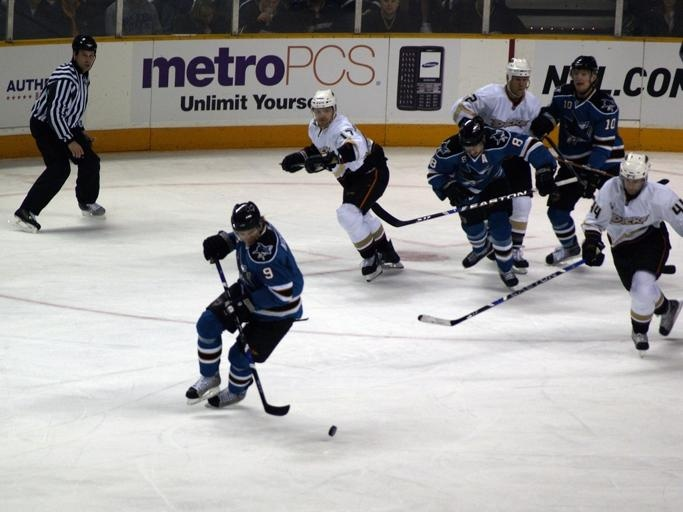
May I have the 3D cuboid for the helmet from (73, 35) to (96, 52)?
[{"bbox_3d":[-2.267,-1.870,6.862,0.162,0.152,0.196,-1,10,4],"label":"helmet"}]

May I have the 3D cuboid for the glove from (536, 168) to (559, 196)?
[{"bbox_3d":[1.482,-0.538,5.630,0.153,0.216,0.230,1,10,13],"label":"glove"}]

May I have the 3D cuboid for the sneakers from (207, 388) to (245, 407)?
[{"bbox_3d":[-0.571,0.702,3.846,0.198,0.077,0.074,-13,28,-18],"label":"sneakers"}]

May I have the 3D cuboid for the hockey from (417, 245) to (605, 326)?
[{"bbox_3d":[1.196,0.225,5.416,1.338,0.058,0.182,-16,40,-18],"label":"hockey"}]

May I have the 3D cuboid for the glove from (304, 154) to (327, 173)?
[{"bbox_3d":[-0.190,-0.663,5.595,0.143,0.127,0.164,-2,10,-1],"label":"glove"}]

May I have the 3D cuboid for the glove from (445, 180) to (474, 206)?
[{"bbox_3d":[0.860,-0.453,5.724,0.187,0.067,0.192,38,38,1],"label":"glove"}]

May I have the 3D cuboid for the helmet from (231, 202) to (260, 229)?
[{"bbox_3d":[-0.441,-0.197,3.691,0.118,0.125,0.141,-8,11,4],"label":"helmet"}]

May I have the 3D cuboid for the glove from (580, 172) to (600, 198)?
[{"bbox_3d":[1.861,-0.527,5.907,0.159,0.190,0.078,10,15,-15],"label":"glove"}]

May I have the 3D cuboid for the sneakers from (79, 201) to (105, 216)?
[{"bbox_3d":[-2.301,-0.444,7.280,0.277,0.111,0.106,2,33,28],"label":"sneakers"}]

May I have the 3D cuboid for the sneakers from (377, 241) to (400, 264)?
[{"bbox_3d":[0.332,-0.016,5.971,0.129,0.202,0.133,-28,-13,-12],"label":"sneakers"}]

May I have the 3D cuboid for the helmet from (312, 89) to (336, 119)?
[{"bbox_3d":[-0.168,-1.133,5.788,0.166,0.191,0.207,-8,21,18],"label":"helmet"}]

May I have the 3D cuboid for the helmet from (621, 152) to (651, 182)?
[{"bbox_3d":[1.657,-0.506,4.394,0.146,0.180,0.177,4,57,16],"label":"helmet"}]

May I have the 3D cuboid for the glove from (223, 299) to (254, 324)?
[{"bbox_3d":[-0.494,0.269,3.754,0.137,0.122,0.092,-19,-15,-23],"label":"glove"}]

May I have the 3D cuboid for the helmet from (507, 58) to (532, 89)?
[{"bbox_3d":[1.399,-1.418,5.961,0.209,0.207,0.231,-1,14,-5],"label":"helmet"}]

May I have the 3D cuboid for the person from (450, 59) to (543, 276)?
[{"bbox_3d":[1.227,-0.706,6.104,0.825,1.638,0.715,1,11,0],"label":"person"}]

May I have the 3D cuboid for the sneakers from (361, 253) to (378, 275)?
[{"bbox_3d":[0.212,0.070,5.751,0.124,0.152,0.173,-1,10,3],"label":"sneakers"}]

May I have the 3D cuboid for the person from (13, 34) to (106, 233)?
[{"bbox_3d":[-2.526,-1.103,6.917,0.749,1.678,0.756,-3,11,-9],"label":"person"}]

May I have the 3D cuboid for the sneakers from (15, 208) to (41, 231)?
[{"bbox_3d":[-2.718,-0.309,6.699,0.200,0.209,0.142,-5,11,-17],"label":"sneakers"}]

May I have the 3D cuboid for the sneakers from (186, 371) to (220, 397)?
[{"bbox_3d":[-0.671,0.641,3.779,0.197,0.086,0.074,-28,4,-7],"label":"sneakers"}]

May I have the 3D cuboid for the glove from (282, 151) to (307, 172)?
[{"bbox_3d":[-0.353,-0.698,5.775,0.167,0.155,0.415,-2,10,-3],"label":"glove"}]

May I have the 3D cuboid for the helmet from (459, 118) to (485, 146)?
[{"bbox_3d":[0.901,-0.858,5.340,0.154,0.158,0.198,-2,35,12],"label":"helmet"}]
